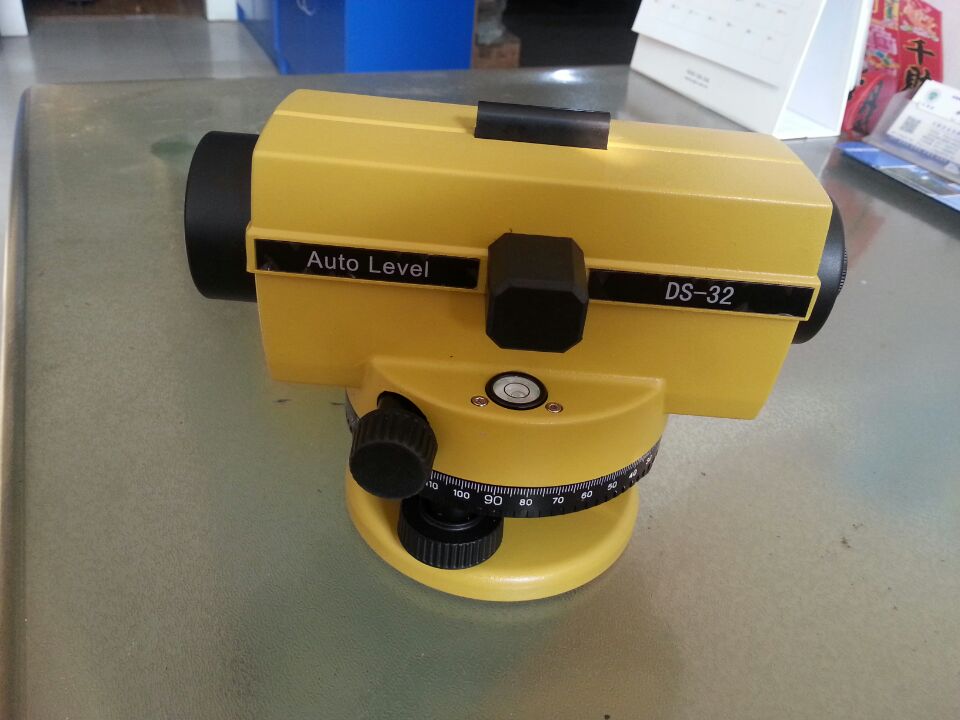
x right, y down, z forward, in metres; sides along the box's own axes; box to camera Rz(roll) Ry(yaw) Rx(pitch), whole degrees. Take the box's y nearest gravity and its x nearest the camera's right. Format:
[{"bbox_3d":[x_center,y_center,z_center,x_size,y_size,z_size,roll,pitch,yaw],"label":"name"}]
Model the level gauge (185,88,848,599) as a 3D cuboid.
[{"bbox_3d":[0.026,0.091,0.790,0.595,0.441,0.335,5,42,-3],"label":"level gauge"}]
